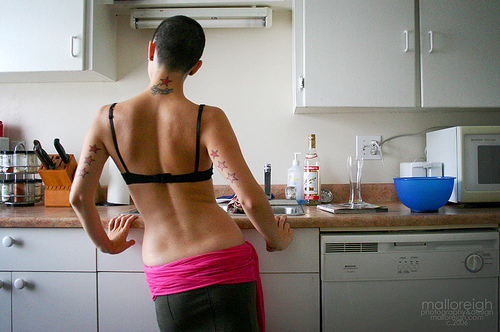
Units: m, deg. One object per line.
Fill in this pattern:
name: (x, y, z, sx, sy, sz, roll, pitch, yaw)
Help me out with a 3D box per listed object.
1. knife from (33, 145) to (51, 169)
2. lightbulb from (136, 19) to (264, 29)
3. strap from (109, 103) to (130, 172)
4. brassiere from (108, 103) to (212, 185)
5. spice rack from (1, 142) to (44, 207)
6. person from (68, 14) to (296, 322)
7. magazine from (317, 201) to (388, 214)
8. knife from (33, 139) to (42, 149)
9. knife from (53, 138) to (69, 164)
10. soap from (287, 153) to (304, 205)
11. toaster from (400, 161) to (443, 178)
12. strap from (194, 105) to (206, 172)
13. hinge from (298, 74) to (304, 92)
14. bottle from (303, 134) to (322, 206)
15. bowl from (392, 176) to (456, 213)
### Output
knife: (-1.330, -0.059, 3.094, 0.056, 0.159, 0.116, -2, 6, 3)
lightbulb: (-0.315, -0.884, 2.995, 0.805, 0.108, 0.086, -1, 16, -4)
strap: (-0.668, -0.147, 2.389, 0.046, 0.255, 0.165, -9, 14, -10)
brassiere: (-0.461, -0.119, 2.540, 0.605, 0.463, 0.288, -2, -10, -19)
spice rack: (-1.507, 0.069, 3.177, 0.352, 0.495, 0.365, 1, -2, -30)
person: (-0.370, 0.034, 2.517, 1.031, 1.576, 0.368, -1, 6, 12)
magazine: (0.615, 0.244, 2.982, 0.390, 0.045, 0.276, -3, 6, -7)
knife: (-1.391, -0.145, 3.153, 0.044, 0.060, 0.021, 12, 35, 1)
knife: (-1.210, -0.095, 3.103, 0.046, 0.055, 0.195, -9, -38, -1)
soap: (0.302, 0.076, 3.253, 0.110, 0.323, 0.270, -2, 6, 4)
toaster: (1.127, 0.022, 3.197, 0.174, 0.114, 0.106, 0, -1, 6)
strap: (-0.248, -0.138, 2.384, 0.032, 0.325, 0.066, 3, 8, 44)
hinge: (0.327, -0.532, 3.113, 0.036, 0.106, 0.011, -2, 6, 9)
bottle: (0.412, 0.017, 3.245, 0.121, 0.461, 0.312, -2, 6, 8)
bowl: (1.033, 0.160, 2.853, 0.243, 0.143, 0.239, -1, -8, 0)
